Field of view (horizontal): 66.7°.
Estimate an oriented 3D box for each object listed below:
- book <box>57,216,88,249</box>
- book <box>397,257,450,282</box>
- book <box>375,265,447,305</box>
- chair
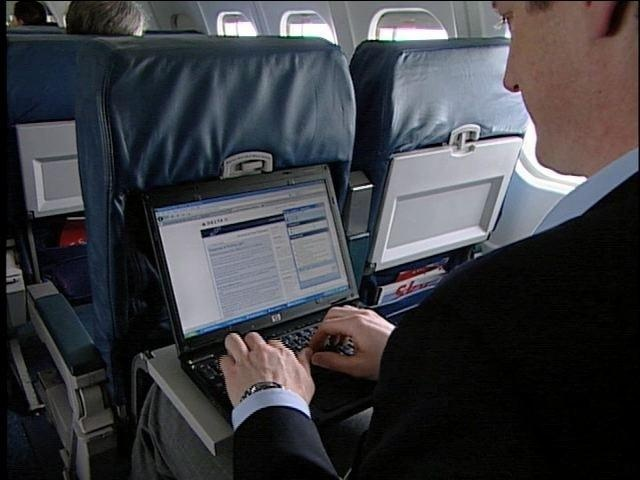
[{"bbox_3d":[-1.181,-0.043,2.318,0.129,0.090,0.102,-10,21,-29],"label":"book"},{"bbox_3d":[0.426,0.108,2.000,0.273,0.090,0.099,-20,12,-39],"label":"book"},{"bbox_3d":[0.298,0.151,1.695,0.198,0.060,0.034,-13,34,-36],"label":"book"},{"bbox_3d":[-0.151,0.098,2.005,1.598,1.385,1.333,-7,15,-18],"label":"chair"}]
